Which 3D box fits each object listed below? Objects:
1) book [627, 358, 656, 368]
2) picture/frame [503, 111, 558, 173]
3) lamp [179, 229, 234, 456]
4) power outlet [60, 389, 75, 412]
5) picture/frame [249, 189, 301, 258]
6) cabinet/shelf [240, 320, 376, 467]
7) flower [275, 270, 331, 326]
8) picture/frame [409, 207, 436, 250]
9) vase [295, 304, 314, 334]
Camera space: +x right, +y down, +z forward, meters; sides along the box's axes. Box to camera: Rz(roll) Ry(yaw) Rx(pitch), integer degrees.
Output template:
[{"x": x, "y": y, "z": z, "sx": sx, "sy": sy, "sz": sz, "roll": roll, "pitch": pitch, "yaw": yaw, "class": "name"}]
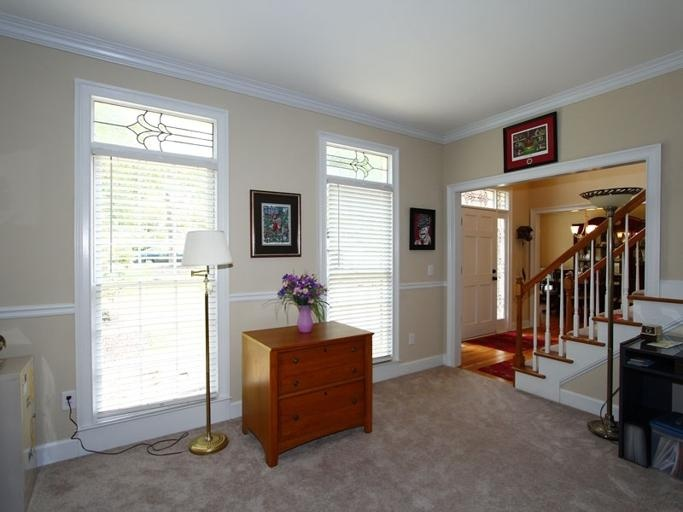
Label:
[{"x": 2.496, "y": 0.887, "z": 3.988, "sx": 0.161, "sy": 0.036, "sz": 0.173, "roll": -12, "pitch": 17, "yaw": -43, "class": "book"}, {"x": 2.038, "y": -1.221, "z": 5.103, "sx": 0.048, "sy": 0.679, "sz": 0.671, "roll": 0, "pitch": -1, "yaw": -37, "class": "picture/frame"}, {"x": -1.161, "y": 0.684, "z": 4.237, "sx": 0.422, "sy": 1.874, "sz": 0.746, "roll": -3, "pitch": 12, "yaw": -13, "class": "lamp"}, {"x": -2.271, "y": 1.203, "z": 3.992, "sx": 0.111, "sy": 0.159, "sz": 0.035, "roll": -6, "pitch": 12, "yaw": -25, "class": "power outlet"}, {"x": -0.683, "y": -0.324, "z": 4.778, "sx": 0.627, "sy": 0.830, "sz": 0.052, "roll": 2, "pitch": -4, "yaw": -36, "class": "picture/frame"}, {"x": -0.311, "y": 1.191, "z": 4.433, "sx": 1.041, "sy": 0.987, "sz": 0.718, "roll": -3, "pitch": 6, "yaw": -34, "class": "cabinet/shelf"}, {"x": -0.340, "y": 0.381, "z": 4.580, "sx": 0.470, "sy": 0.528, "sz": 0.482, "roll": 2, "pitch": -4, "yaw": -44, "class": "flower"}, {"x": 0.970, "y": -0.336, "z": 5.831, "sx": 0.487, "sy": 0.619, "sz": 0.023, "roll": 1, "pitch": -3, "yaw": -40, "class": "picture/frame"}, {"x": -0.327, "y": 0.573, "z": 4.346, "sx": 0.195, "sy": 0.304, "sz": 0.204, "roll": -2, "pitch": -2, "yaw": 24, "class": "vase"}]
